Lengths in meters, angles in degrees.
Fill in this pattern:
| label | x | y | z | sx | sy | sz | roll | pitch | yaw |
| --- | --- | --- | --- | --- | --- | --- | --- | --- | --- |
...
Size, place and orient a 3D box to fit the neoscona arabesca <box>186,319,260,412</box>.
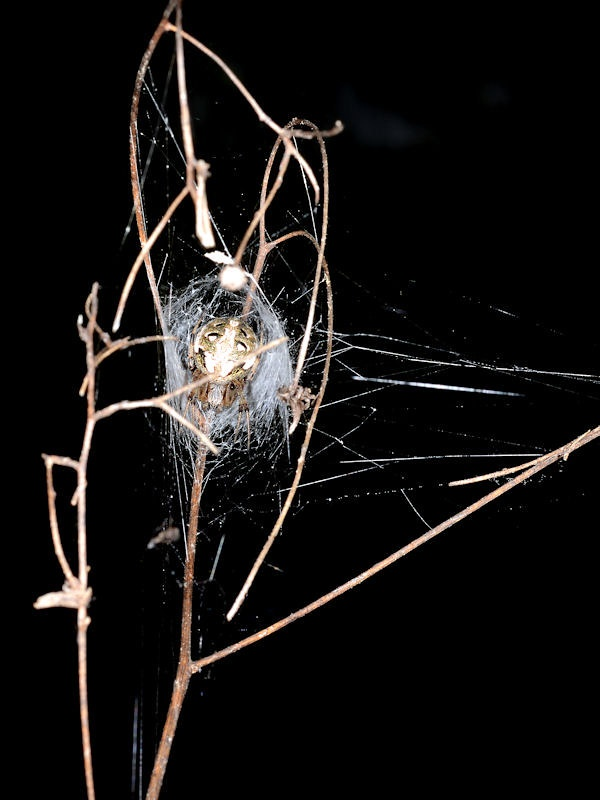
| label | x | y | z | sx | sy | sz | roll | pitch | yaw |
| --- | --- | --- | --- | --- | --- | --- | --- | --- | --- |
| neoscona arabesca | -0.111 | -0.050 | 1.327 | 0.101 | 0.141 | 0.138 | 7 | -64 | -15 |
